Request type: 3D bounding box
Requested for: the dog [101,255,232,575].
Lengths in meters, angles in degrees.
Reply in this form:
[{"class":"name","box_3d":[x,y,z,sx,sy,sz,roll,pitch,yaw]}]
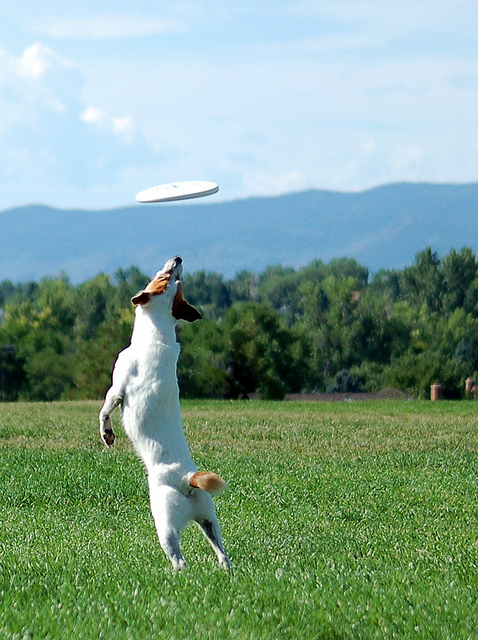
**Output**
[{"class":"dog","box_3d":[-0.830,1.198,15.100,0.923,3.831,1.495,8,-37,-36]}]
